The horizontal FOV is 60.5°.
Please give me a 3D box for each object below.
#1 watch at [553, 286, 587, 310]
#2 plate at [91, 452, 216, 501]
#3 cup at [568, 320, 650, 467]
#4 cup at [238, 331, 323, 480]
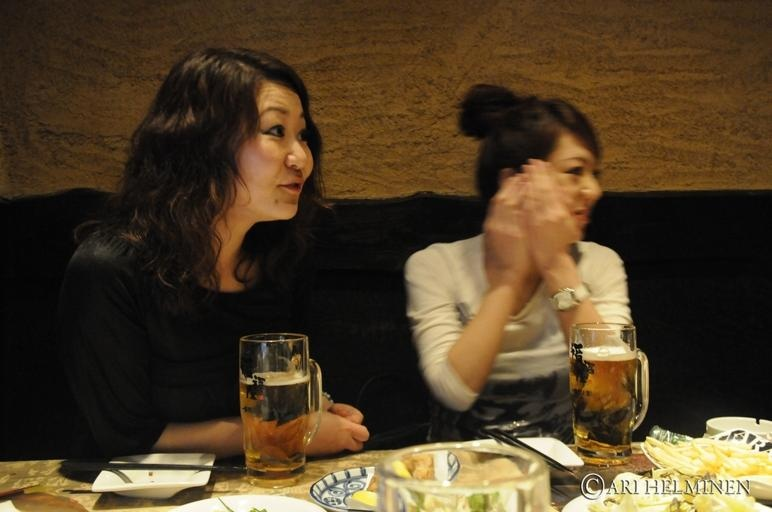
[{"bbox_3d":[0.656,0.159,2.381,0.124,0.068,0.114,-14,-5,3],"label":"watch"},{"bbox_3d":[-0.544,0.500,1.585,0.253,0.066,0.294,0,8,-12],"label":"plate"},{"bbox_3d":[0.549,0.332,1.686,0.168,0.353,0.159,1,2,0],"label":"cup"},{"bbox_3d":[-0.262,0.356,1.631,0.160,0.341,0.144,0,2,-35],"label":"cup"}]
